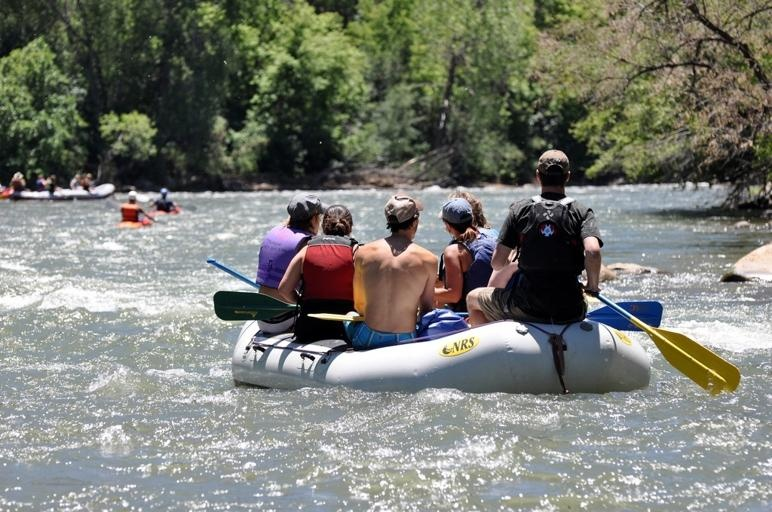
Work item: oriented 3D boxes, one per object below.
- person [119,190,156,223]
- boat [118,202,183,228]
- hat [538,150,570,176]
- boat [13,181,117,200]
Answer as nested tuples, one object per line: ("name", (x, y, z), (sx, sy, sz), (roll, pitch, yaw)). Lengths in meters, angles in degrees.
("person", (-8.179, -1.474, 45.001), (1.157, 1.279, 1.934), (4, 3, -6))
("boat", (-7.825, -1.251, 44.953), (0.751, 0.777, 2.054), (-3, -4, 27))
("hat", (3.622, -2.039, 30.160), (0.662, 0.526, 0.381), (1, 6, 8))
("boat", (-12.542, -2.421, 54.399), (0.934, 0.469, 4.520), (5, 7, 42))
